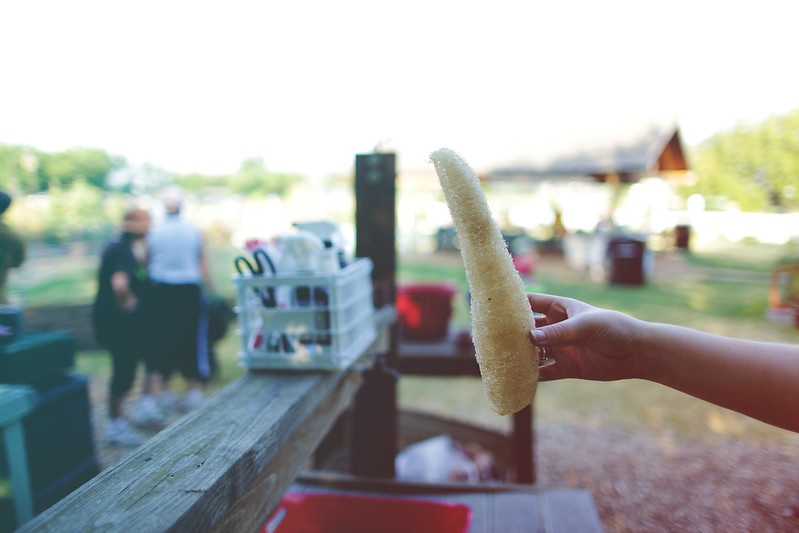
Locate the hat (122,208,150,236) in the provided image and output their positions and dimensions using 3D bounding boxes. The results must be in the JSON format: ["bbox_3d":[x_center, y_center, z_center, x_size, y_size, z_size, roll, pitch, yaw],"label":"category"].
[{"bbox_3d":[-2.740,-0.485,6.108,0.249,0.245,0.255,6,20,7],"label":"hat"}]

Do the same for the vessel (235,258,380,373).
[{"bbox_3d":[-0.739,0.345,4.466,0.820,0.541,0.830,-1,2,4],"label":"vessel"}]
